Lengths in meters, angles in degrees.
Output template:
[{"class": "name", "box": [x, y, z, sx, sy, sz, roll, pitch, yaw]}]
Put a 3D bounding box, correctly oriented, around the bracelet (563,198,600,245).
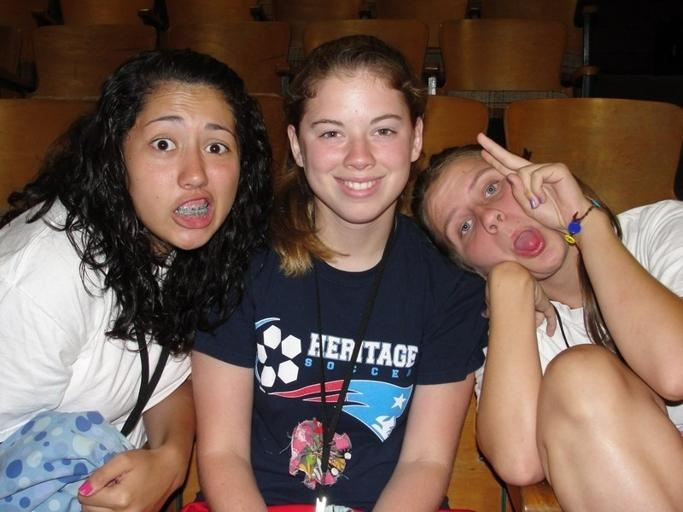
[{"class": "bracelet", "box": [0.694, -0.098, 1.776, 0.167, 0.071, 0.049, -54, 20, -12]}]
